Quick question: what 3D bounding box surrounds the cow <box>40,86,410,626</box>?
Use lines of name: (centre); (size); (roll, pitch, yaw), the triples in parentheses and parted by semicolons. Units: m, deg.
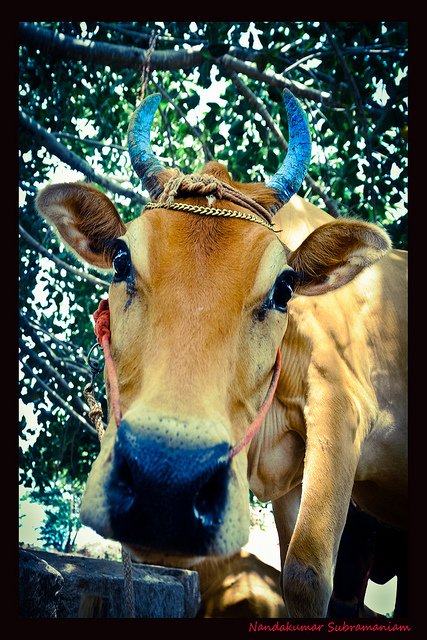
cow: (0.562, 0.438, 4.225); (1.288, 2.431, 3.906); (-4, -20, 24)
